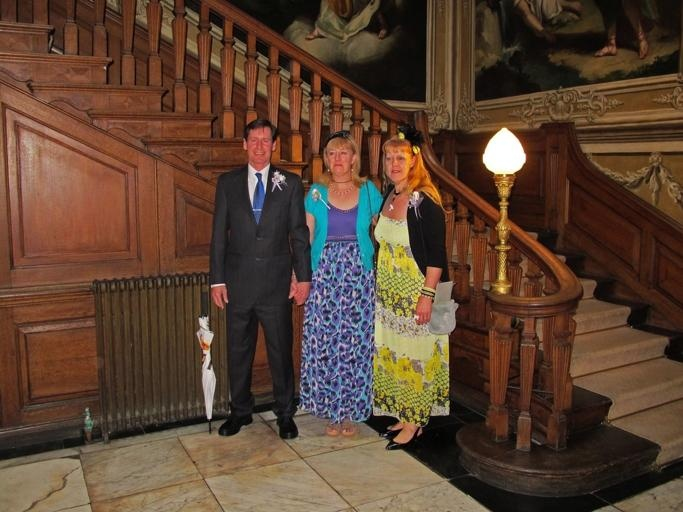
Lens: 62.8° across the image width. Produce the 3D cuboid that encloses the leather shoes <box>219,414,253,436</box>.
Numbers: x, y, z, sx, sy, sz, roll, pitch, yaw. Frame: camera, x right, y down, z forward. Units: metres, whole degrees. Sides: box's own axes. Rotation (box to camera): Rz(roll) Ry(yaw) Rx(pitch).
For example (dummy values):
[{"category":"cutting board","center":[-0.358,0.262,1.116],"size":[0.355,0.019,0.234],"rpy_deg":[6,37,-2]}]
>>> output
[{"category":"leather shoes","center":[-0.764,1.202,4.029],"size":[0.096,0.112,0.263],"rpy_deg":[9,9,40]}]

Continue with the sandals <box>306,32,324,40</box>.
[{"category":"sandals","center":[-0.324,-2.596,6.604],"size":[0.224,0.076,0.094],"rpy_deg":[-18,9,-22]}]

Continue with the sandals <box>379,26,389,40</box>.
[{"category":"sandals","center":[0.514,-2.748,6.879],"size":[0.086,0.155,0.060],"rpy_deg":[1,6,-15]}]

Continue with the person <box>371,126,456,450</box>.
[{"category":"person","center":[0.475,0.215,3.807],"size":[0.516,2.147,0.567],"rpy_deg":[-1,15,-4]}]

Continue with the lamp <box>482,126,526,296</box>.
[{"category":"lamp","center":[1.062,-0.311,3.733],"size":[0.257,1.063,0.413],"rpy_deg":[4,15,17]}]

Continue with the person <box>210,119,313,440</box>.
[{"category":"person","center":[-0.560,0.166,3.866],"size":[0.685,2.147,0.488],"rpy_deg":[-2,15,-4]}]

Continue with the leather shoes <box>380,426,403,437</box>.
[{"category":"leather shoes","center":[0.337,1.243,3.955],"size":[0.129,0.035,0.060],"rpy_deg":[-4,8,-18]}]

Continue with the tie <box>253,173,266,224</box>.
[{"category":"tie","center":[-0.568,-0.411,3.843],"size":[0.086,0.313,0.110],"rpy_deg":[-3,15,-9]}]

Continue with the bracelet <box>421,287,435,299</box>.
[{"category":"bracelet","center":[0.559,0.231,3.611],"size":[0.073,0.053,0.073],"rpy_deg":[8,10,32]}]

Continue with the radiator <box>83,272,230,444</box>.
[{"category":"radiator","center":[-1.370,0.715,4.004],"size":[1.077,1.168,0.238],"rpy_deg":[-4,10,-27]}]

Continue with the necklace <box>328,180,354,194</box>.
[{"category":"necklace","center":[-0.011,-0.481,3.865],"size":[0.106,0.045,0.106],"rpy_deg":[-3,-33,-2]}]

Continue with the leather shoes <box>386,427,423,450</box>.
[{"category":"leather shoes","center":[0.419,1.283,3.895],"size":[0.289,0.123,0.099],"rpy_deg":[-1,15,-26]}]
